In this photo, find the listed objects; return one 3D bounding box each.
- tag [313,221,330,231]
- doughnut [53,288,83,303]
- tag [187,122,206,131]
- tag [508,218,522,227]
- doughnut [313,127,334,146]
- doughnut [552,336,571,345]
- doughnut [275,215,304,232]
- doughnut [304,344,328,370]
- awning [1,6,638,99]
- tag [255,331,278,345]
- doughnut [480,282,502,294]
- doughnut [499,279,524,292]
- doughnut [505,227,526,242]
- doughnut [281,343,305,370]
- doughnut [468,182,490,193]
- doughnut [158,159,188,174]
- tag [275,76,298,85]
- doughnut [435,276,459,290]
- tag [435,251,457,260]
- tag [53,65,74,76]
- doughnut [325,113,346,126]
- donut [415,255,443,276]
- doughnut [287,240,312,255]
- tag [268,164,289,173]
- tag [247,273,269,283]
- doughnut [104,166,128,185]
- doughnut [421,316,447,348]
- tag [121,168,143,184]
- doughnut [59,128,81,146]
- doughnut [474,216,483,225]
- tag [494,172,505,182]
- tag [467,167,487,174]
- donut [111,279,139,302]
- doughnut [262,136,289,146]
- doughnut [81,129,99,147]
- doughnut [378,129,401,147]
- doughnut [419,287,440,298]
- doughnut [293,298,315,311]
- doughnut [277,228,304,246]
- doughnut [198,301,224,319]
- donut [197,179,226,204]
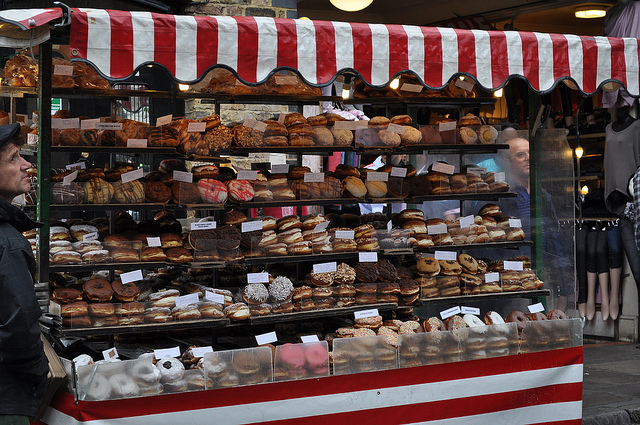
[{"bbox_3d":[0.022,0.129,7.209,0.114,0.074,0.081,-17,53,-26],"label":"tag"},{"bbox_3d":[-2.255,0.725,6.374,0.173,0.074,0.136,3,-3,22],"label":"doughnut"},{"bbox_3d":[-1.167,-0.815,6.742,0.132,0.084,0.029,0,1,-14],"label":"tag"},{"bbox_3d":[2.152,0.107,7.875,0.106,0.068,0.007,3,-24,-12],"label":"tag"},{"bbox_3d":[0.045,-0.761,7.172,0.160,0.187,0.094,1,-7,-22],"label":"doughnut"},{"bbox_3d":[2.468,1.291,7.252,0.212,0.080,0.025,-6,5,-19],"label":"doughnut"},{"bbox_3d":[-0.305,0.102,7.154,0.187,0.092,0.184,-1,-10,-44],"label":"doughnut"},{"bbox_3d":[-0.031,1.324,6.605,0.256,0.094,0.269,8,28,-5],"label":"doughnut"},{"bbox_3d":[0.441,-1.443,6.540,5.168,0.910,0.460,-5,5,-11],"label":"awning"},{"bbox_3d":[-0.505,1.200,6.808,0.176,0.118,0.199,-4,5,0],"label":"tag"},{"bbox_3d":[1.846,0.802,7.667,0.248,0.112,0.059,-6,5,-22],"label":"doughnut"},{"bbox_3d":[2.072,0.780,7.709,0.161,0.071,0.155,0,-1,-13],"label":"doughnut"},{"bbox_3d":[2.156,0.235,7.852,0.269,0.153,0.083,-6,5,-20],"label":"doughnut"},{"bbox_3d":[-0.244,1.307,6.475,0.222,0.211,0.070,7,-46,-33],"label":"doughnut"},{"bbox_3d":[1.767,-0.274,7.833,0.148,0.072,0.143,1,-1,-14],"label":"doughnut"},{"bbox_3d":[-1.435,-0.432,7.003,0.195,0.089,0.189,4,1,-24],"label":"doughnut"},{"bbox_3d":[-0.339,-1.312,7.053,0.199,0.102,0.038,-1,-7,-19],"label":"tag"},{"bbox_3d":[1.340,0.736,7.528,0.162,0.069,0.156,-3,-6,-28],"label":"doughnut"},{"bbox_3d":[1.340,0.452,7.591,0.219,0.113,0.136,-3,5,9],"label":"tag"},{"bbox_3d":[-2.306,-1.281,6.407,0.165,0.100,0.042,2,4,-19],"label":"tag"},{"bbox_3d":[0.149,-0.970,7.362,0.144,0.067,0.142,4,0,-38],"label":"doughnut"},{"bbox_3d":[1.171,0.562,7.581,0.229,0.113,0.231,13,28,43],"label":"donut"},{"bbox_3d":[-0.190,0.346,7.072,0.260,0.135,0.058,-6,5,-23],"label":"doughnut"},{"bbox_3d":[-0.409,-0.451,7.319,0.140,0.031,0.095,2,-12,-29],"label":"tag"},{"bbox_3d":[-0.592,0.629,6.909,0.183,0.093,0.041,3,-4,-17],"label":"tag"},{"bbox_3d":[-1.906,-0.354,6.693,0.175,0.061,0.169,-17,0,-2],"label":"doughnut"},{"bbox_3d":[1.132,1.171,7.013,0.196,0.071,0.243,6,17,-11],"label":"doughnut"},{"bbox_3d":[-1.731,-0.340,6.626,0.087,0.123,0.248,1,7,43],"label":"tag"},{"bbox_3d":[-2.244,-0.682,6.403,0.170,0.148,0.033,-6,5,-19],"label":"doughnut"},{"bbox_3d":[1.751,0.079,7.831,0.074,0.082,0.165,-1,6,25],"label":"doughnut"},{"bbox_3d":[2.003,-0.401,7.940,0.112,0.074,0.009,-3,6,-14],"label":"tag"},{"bbox_3d":[1.772,-0.475,7.972,0.260,0.082,0.078,-6,6,-23],"label":"tag"},{"bbox_3d":[-1.794,0.712,6.558,0.219,0.185,0.153,-2,5,17],"label":"donut"},{"bbox_3d":[-0.425,-0.708,7.021,0.274,0.103,0.074,-7,6,-30],"label":"doughnut"},{"bbox_3d":[-2.074,-0.681,6.449,0.147,0.149,0.034,-7,6,-29],"label":"doughnut"},{"bbox_3d":[0.722,-0.774,7.383,0.219,0.189,0.067,-6,5,-21],"label":"doughnut"},{"bbox_3d":[1.158,0.833,7.477,0.129,0.050,0.131,-1,1,43],"label":"doughnut"},{"bbox_3d":[-0.149,0.897,6.959,0.127,0.062,0.128,-9,-5,42],"label":"doughnut"},{"bbox_3d":[-0.281,0.232,7.088,0.183,0.090,0.179,-14,-3,15],"label":"doughnut"},{"bbox_3d":[-1.016,0.902,6.643,0.174,0.085,0.175,4,9,-14],"label":"doughnut"},{"bbox_3d":[-1.029,-0.207,6.824,0.263,0.238,0.086,-5,5,-9],"label":"donut"}]
